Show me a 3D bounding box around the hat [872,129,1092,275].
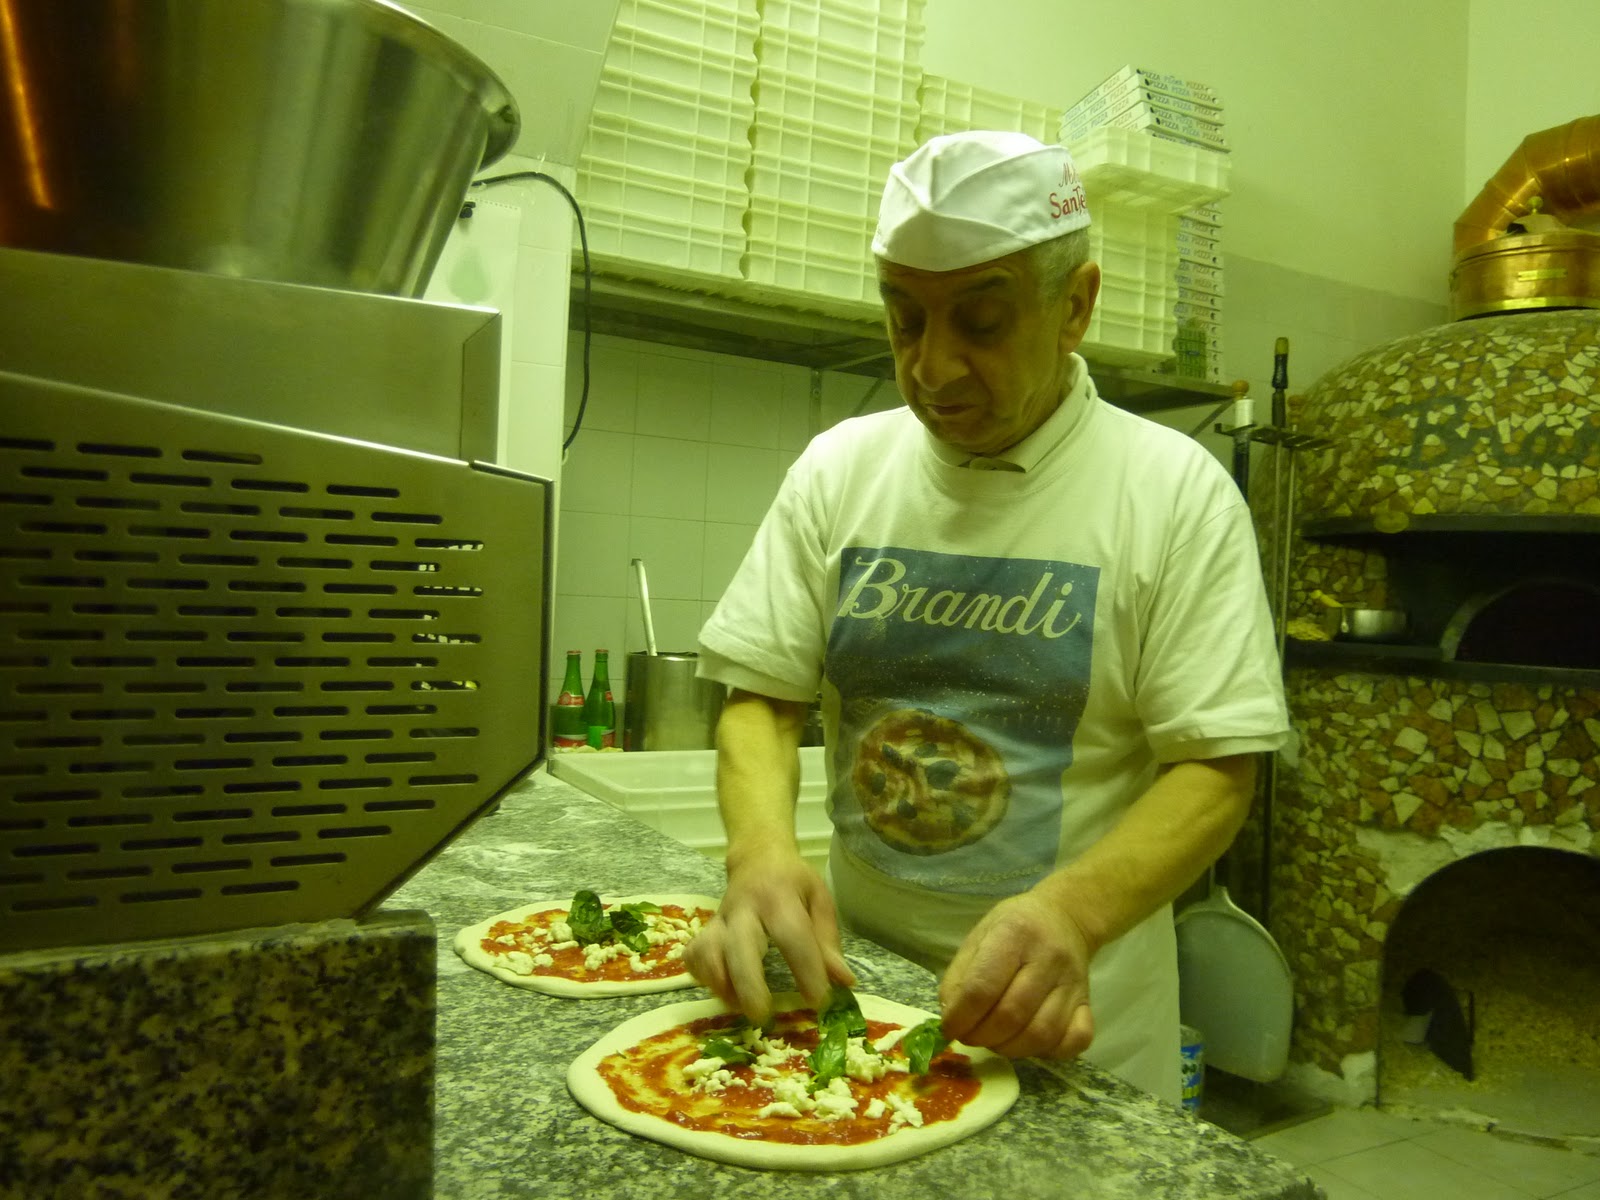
[{"bbox_3d":[0.224,-0.487,1.652,0.313,0.149,0.227,-23,21,-39],"label":"hat"}]

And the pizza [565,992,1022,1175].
[{"bbox_3d":[-0.005,0.426,1.230,0.365,0.026,0.292,6,9,25],"label":"pizza"}]

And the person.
[{"bbox_3d":[0.159,-0.045,1.567,0.673,0.988,0.637,9,10,42],"label":"person"}]

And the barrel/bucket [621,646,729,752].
[{"bbox_3d":[-0.286,0.208,3.111,0.224,0.245,0.230,4,11,-1],"label":"barrel/bucket"}]

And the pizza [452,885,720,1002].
[{"bbox_3d":[-0.241,0.357,1.517,0.268,0.043,0.283,2,8,0],"label":"pizza"}]

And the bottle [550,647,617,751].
[{"bbox_3d":[-0.476,0.215,3.096,0.141,0.203,0.304,1,8,-9],"label":"bottle"}]
